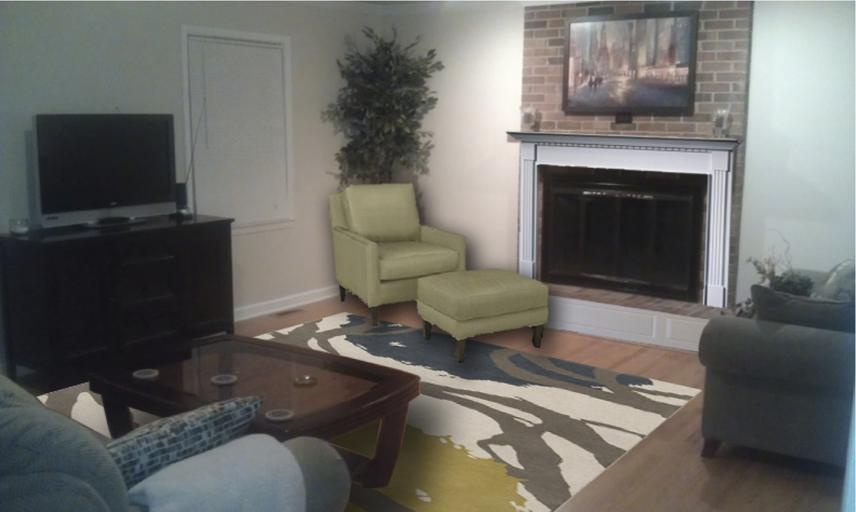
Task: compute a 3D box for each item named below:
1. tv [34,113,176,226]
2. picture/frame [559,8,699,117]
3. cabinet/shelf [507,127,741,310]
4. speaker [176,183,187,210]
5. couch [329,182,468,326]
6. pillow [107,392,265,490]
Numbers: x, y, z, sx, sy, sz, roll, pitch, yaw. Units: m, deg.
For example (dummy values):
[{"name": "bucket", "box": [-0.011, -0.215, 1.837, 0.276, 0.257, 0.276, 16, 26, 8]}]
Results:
[{"name": "tv", "box": [-2.606, -0.739, 4.792, 0.146, 0.864, 1.239, 10, 15, 23]}, {"name": "picture/frame", "box": [1.817, -1.717, 5.174, 1.128, 0.754, 0.082, 5, 9, 25]}, {"name": "cabinet/shelf", "box": [1.778, -0.398, 5.473, 2.121, 1.463, 0.399, 9, 20, 36]}, {"name": "speaker", "box": [-2.147, -0.525, 5.127, 0.091, 0.228, 0.081, -5, 13, -23]}, {"name": "couch", "box": [-0.426, -0.122, 6.082, 1.355, 1.428, 1.427, -7, 11, -32]}, {"name": "pillow", "box": [-1.069, 0.857, 2.462, 0.589, 0.178, 0.301, -23, 46, -9]}]
